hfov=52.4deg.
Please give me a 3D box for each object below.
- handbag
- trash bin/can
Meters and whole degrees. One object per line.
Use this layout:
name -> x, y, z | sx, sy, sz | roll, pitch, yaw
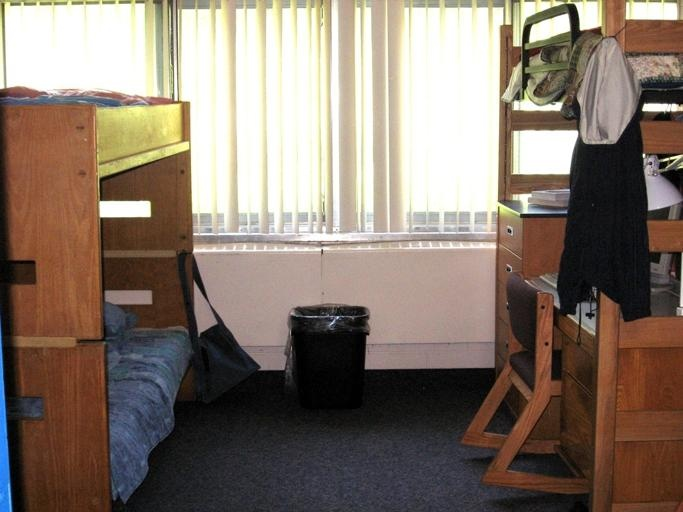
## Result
handbag -> -0.776, 0.638, 4.386 | 0.392, 0.159, 0.508 | -24, 37, -19
trash bin/can -> -0.084, 0.597, 4.253 | 0.521, 0.709, 0.526 | 0, -4, -2
